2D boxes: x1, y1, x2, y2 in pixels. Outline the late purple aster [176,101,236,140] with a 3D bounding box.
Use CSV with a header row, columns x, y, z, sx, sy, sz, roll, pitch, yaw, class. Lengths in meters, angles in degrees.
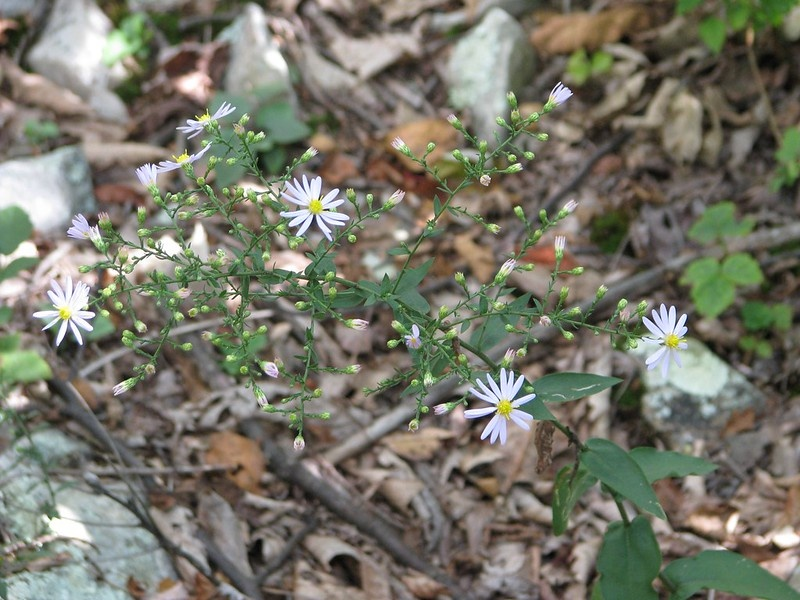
x,y,z,sx,sy,sz,roll,pitch,yaw,class
-0.899,-0.849,3.681,0.244,0.063,0.269,-15,1,7,late purple aster
